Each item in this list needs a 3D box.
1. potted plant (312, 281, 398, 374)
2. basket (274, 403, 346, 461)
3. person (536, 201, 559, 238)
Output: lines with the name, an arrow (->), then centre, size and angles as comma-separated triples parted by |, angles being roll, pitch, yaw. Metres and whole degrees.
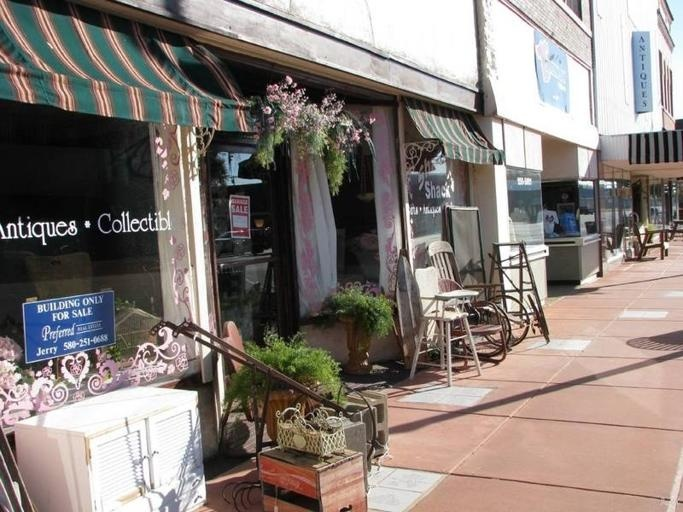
potted plant -> 0.295, 0.913, 7.358 | 0.740, 0.988, 0.872 | 6, -6, -2
basket -> -0.259, 1.330, 4.135 | 0.444, 0.331, 0.270 | -2, -3, 31
person -> 5.888, -1.037, 15.188 | 0.424, 0.957, 0.383 | -4, 2, 22
